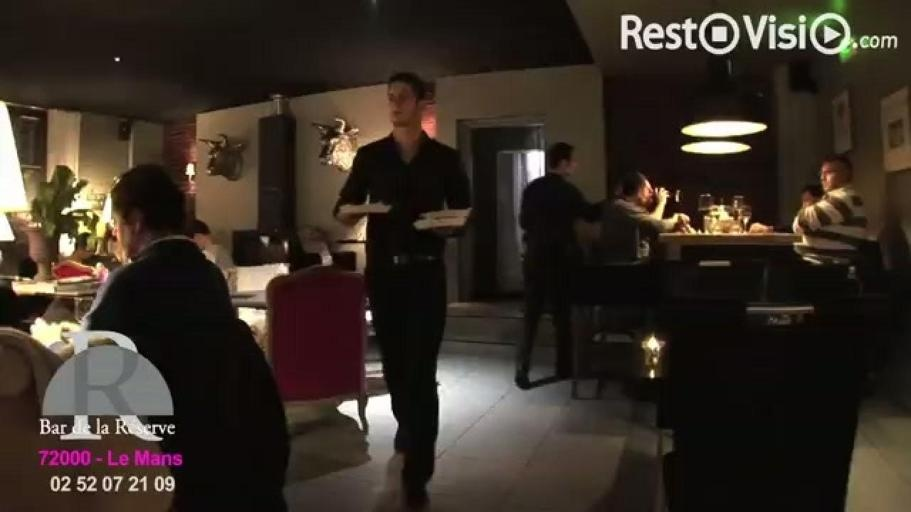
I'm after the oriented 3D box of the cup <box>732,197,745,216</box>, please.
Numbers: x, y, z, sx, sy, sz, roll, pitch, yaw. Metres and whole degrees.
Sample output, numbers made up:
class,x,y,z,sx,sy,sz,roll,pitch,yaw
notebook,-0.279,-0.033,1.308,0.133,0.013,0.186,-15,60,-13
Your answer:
class,x,y,z,sx,sy,sz,roll,pitch,yaw
cup,1.632,-0.280,3.982,0.084,0.132,0.248,1,4,22

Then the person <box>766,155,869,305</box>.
class,x,y,z,sx,sy,sz,roll,pitch,yaw
person,1.867,-0.112,3.597,0.472,0.940,0.414,9,-23,19

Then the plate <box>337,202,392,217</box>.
class,x,y,z,sx,sy,sz,roll,pitch,yaw
plate,-0.481,-0.246,3.729,0.207,0.048,0.106,-10,1,-7

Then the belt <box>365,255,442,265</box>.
class,x,y,z,sx,sy,sz,roll,pitch,yaw
belt,-0.253,0.021,3.773,0.353,0.049,0.026,0,4,0
